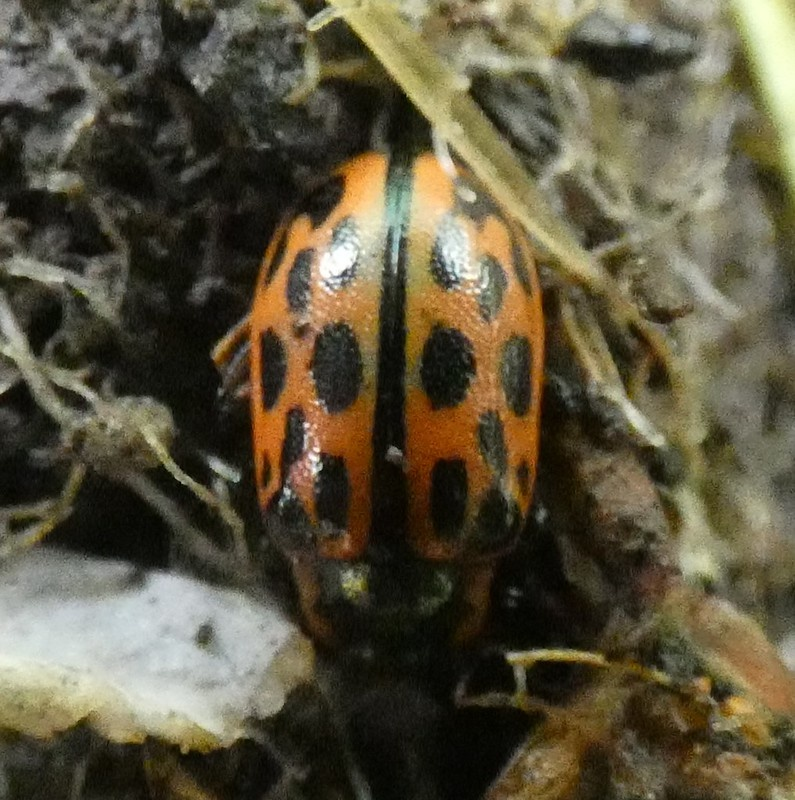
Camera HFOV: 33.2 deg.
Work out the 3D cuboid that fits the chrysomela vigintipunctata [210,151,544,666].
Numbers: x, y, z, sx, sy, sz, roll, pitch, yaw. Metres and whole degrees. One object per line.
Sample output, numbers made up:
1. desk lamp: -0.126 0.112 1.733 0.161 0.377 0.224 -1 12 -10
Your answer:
1. chrysomela vigintipunctata: -0.004 -0.009 0.828 0.236 0.124 0.367 8 66 -3
